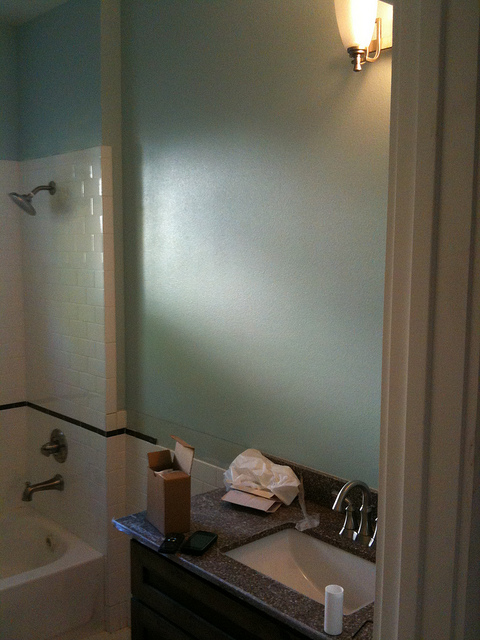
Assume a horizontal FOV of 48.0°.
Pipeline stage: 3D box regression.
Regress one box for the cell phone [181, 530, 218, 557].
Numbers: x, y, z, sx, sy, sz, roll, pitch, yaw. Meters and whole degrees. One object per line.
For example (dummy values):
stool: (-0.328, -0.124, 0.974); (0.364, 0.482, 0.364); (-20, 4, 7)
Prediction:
cell phone: (-0.115, 0.637, 1.552); (0.081, 0.019, 0.118); (-2, 5, 25)
